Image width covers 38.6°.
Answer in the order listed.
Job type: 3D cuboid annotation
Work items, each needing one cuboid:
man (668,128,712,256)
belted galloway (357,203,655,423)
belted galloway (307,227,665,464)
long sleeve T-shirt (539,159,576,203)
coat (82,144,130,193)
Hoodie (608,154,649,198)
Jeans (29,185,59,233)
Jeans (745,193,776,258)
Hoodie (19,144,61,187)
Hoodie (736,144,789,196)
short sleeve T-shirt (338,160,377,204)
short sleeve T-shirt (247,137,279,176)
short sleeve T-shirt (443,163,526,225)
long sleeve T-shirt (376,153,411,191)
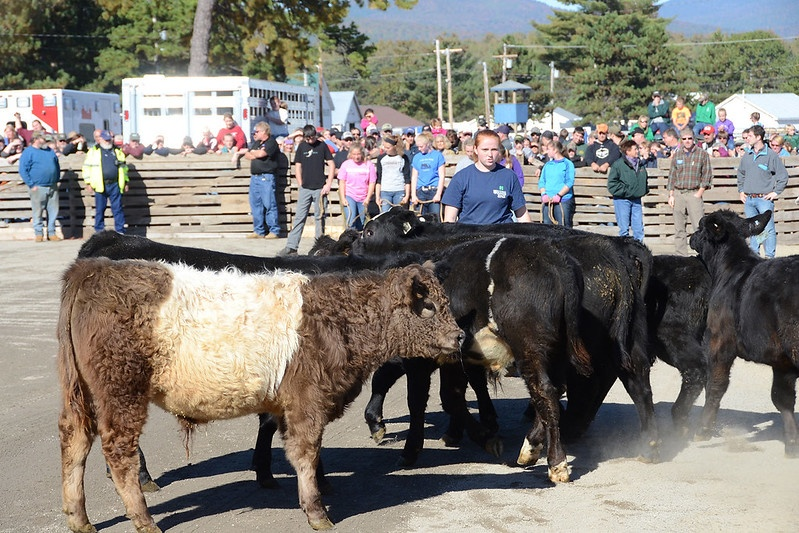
[{"bbox_3d":[5.646,-1.392,22.293,0.879,2.613,0.649,4,10,37],"label":"man"},{"bbox_3d":[1.098,0.741,13.822,5.375,2.592,1.426,5,13,-39],"label":"belted galloway"},{"bbox_3d":[1.500,0.774,15.500,6.012,3.023,1.954,1,-17,9],"label":"belted galloway"},{"bbox_3d":[2.996,-1.706,21.883,0.626,0.752,0.404,2,8,12],"label":"long sleeve T-shirt"},{"bbox_3d":[-6.621,-2.173,25.651,1.198,1.239,0.685,-2,5,-36],"label":"coat"},{"bbox_3d":[4.480,-1.762,22.330,0.988,0.884,0.577,-2,5,-31],"label":"Hoodie"},{"bbox_3d":[-8.068,-1.253,25.947,0.605,1.186,0.827,-2,8,-17],"label":"Jeans"},{"bbox_3d":[5.934,-0.705,18.797,0.684,1.288,0.326,1,5,19],"label":"Jeans"},{"bbox_3d":[-8.018,-2.258,25.569,0.580,0.934,1.004,9,16,37],"label":"Hoodie"},{"bbox_3d":[6.744,-1.782,21.263,0.906,0.884,0.404,4,8,25],"label":"Hoodie"},{"bbox_3d":[-0.828,-1.689,22.619,0.886,0.901,0.479,2,4,0],"label":"short sleeve T-shirt"},{"bbox_3d":[-2.878,-2.505,25.104,0.403,0.637,0.668,-6,16,-20],"label":"short sleeve T-shirt"},{"bbox_3d":[1.204,-1.018,16.374,1.284,0.893,0.589,-4,29,-4],"label":"short sleeve T-shirt"},{"bbox_3d":[-0.137,-1.853,22.468,0.789,0.928,0.490,1,-5,-11],"label":"long sleeve T-shirt"}]
